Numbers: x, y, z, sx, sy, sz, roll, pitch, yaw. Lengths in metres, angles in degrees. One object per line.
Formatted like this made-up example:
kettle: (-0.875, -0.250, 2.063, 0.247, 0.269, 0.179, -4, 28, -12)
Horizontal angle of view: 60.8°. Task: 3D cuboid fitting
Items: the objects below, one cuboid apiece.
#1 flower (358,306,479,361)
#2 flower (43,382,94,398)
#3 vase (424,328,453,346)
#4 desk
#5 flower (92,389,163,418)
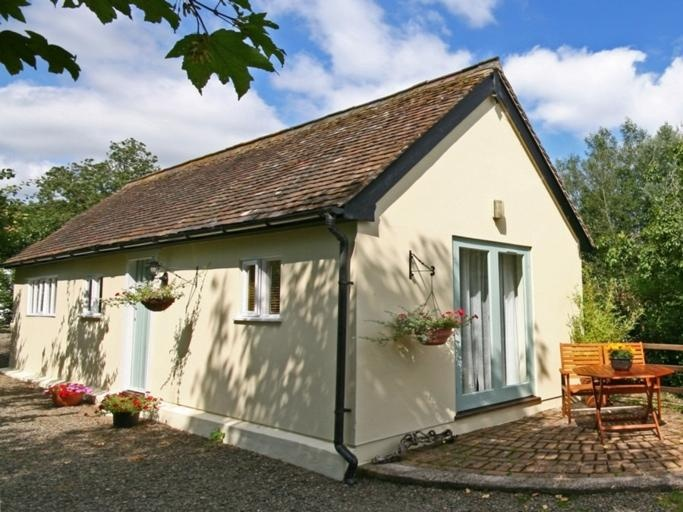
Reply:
flower: (1.119, 1.089, 8.638, 1.388, 0.543, 0.832, -7, -8, 18)
flower: (-5.734, 2.810, 12.278, 0.548, 0.179, 0.539, 8, -2, -36)
vase: (1.410, 1.178, 8.587, 0.404, 0.282, 0.249, -1, 7, 8)
desk: (4.484, 2.246, 9.337, 1.254, 0.893, 1.378, -3, -25, 10)
flower: (-3.924, 2.690, 10.789, 0.807, 0.386, 0.765, 6, -8, -25)
